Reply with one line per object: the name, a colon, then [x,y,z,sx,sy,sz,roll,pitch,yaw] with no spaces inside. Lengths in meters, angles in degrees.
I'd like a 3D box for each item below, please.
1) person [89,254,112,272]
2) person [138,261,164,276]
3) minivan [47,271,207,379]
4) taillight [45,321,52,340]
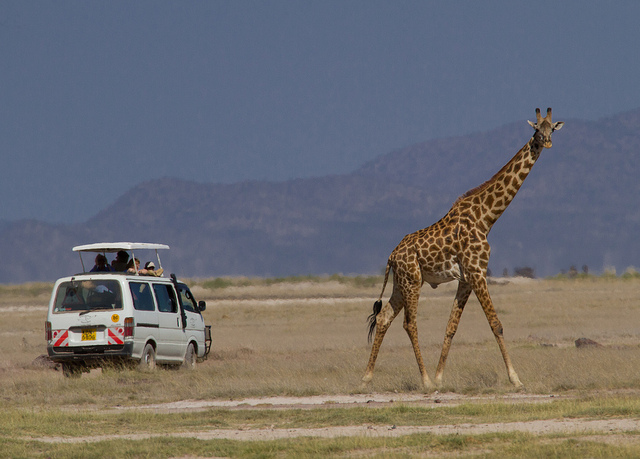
person: [-8.222,1.276,48.870,0.463,0.799,0.277,1,-3,-25]
person: [-6.348,1.488,48.718,0.439,0.447,0.757,-2,-14,30]
minivan: [-6.902,3.324,47.345,5.662,3.486,2.341,6,-7,-44]
taillight: [-9.658,3.547,46.267,0.189,0.637,0.369,5,-6,-42]
